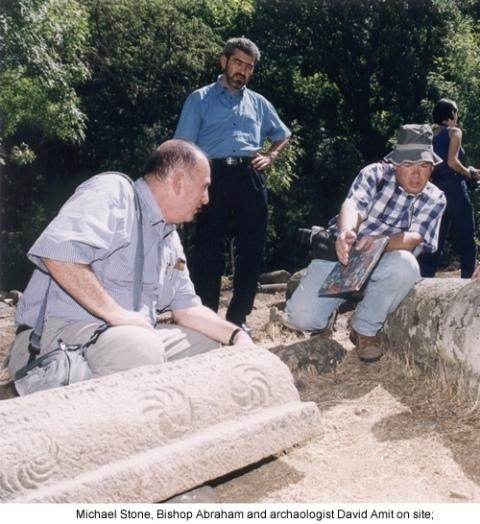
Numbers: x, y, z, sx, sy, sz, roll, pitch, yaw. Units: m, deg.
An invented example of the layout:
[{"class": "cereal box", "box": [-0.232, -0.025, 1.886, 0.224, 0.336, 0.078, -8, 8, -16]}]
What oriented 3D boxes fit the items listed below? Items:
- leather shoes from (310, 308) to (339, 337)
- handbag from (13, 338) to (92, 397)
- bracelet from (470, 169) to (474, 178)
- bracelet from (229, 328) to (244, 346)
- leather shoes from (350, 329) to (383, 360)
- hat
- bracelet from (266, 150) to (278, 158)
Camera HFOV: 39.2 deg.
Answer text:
[{"class": "leather shoes", "box": [0.592, 0.434, 4.621, 0.130, 0.225, 0.053, -1, -4, -14]}, {"class": "handbag", "box": [-0.829, 0.493, 2.931, 0.246, 0.133, 0.217, -16, 5, -5]}, {"class": "bracelet", "box": [2.154, -0.815, 6.238, 0.036, 0.080, 0.030, 2, 8, 11]}, {"class": "bracelet", "box": [-0.017, 0.382, 3.429, 0.026, 0.084, 0.067, 16, -9, -5]}, {"class": "leather shoes", "box": [0.796, 0.519, 4.227, 0.094, 0.143, 0.292, -4, 4, -8]}, {"class": "hat", "box": [1.083, -0.717, 4.270, 0.253, 0.196, 0.291, 1, 3, -5]}, {"class": "bracelet", "box": [0.244, -0.828, 5.194, 0.073, 0.021, 0.084, 5, 45, -14]}]
